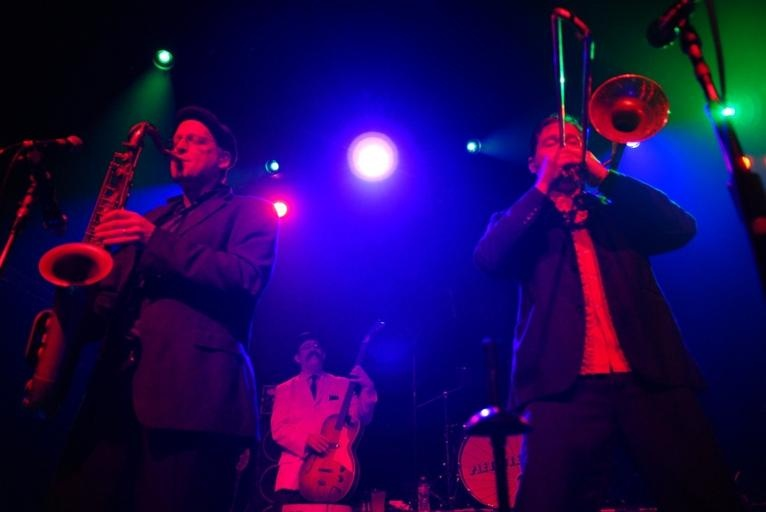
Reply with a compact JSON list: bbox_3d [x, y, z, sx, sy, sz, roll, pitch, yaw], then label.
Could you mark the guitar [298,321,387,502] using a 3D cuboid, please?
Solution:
[{"bbox_3d":[-0.527,2.118,8.657,1.028,2.297,0.867,-1,-2,-8],"label":"guitar"}]
